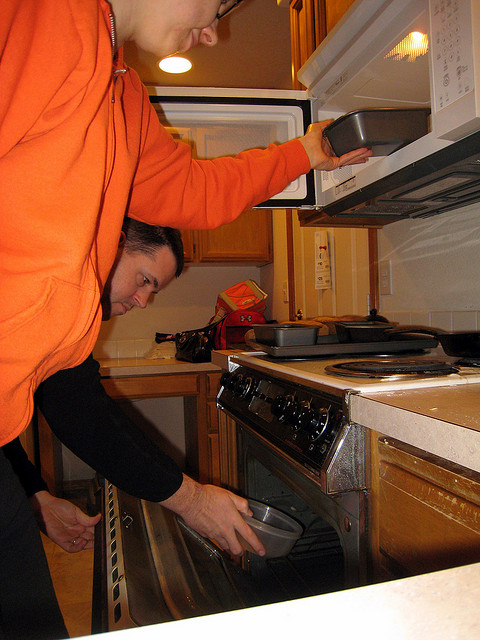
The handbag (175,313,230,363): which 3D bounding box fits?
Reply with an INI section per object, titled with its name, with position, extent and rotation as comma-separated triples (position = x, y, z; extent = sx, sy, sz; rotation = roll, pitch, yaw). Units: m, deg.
[handbag]
position = -0.227, 0.099, 2.404
extent = 0.185, 0.253, 0.275
rotation = 1, 4, -32
